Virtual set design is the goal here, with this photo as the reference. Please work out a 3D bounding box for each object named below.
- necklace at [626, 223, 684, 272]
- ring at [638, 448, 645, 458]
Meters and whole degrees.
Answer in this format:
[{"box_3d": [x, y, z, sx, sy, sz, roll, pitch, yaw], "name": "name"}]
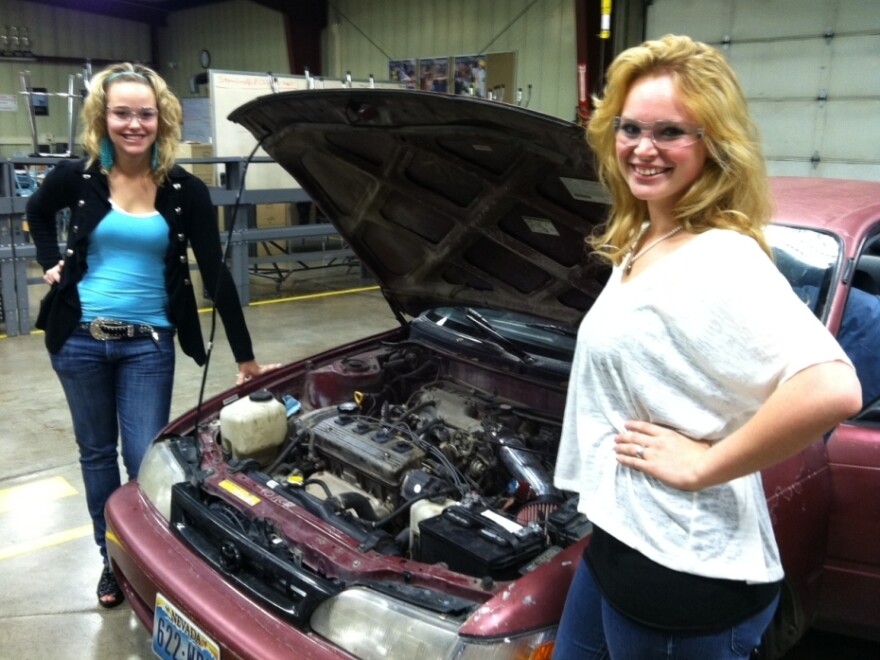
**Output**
[{"box_3d": [0.463, -0.190, 1.333, 0.087, 0.117, 0.044, 31, 4, 40], "name": "necklace"}, {"box_3d": [0.393, 0.244, 1.209, 0.015, 0.016, 0.012, 13, -14, -21], "name": "ring"}]
